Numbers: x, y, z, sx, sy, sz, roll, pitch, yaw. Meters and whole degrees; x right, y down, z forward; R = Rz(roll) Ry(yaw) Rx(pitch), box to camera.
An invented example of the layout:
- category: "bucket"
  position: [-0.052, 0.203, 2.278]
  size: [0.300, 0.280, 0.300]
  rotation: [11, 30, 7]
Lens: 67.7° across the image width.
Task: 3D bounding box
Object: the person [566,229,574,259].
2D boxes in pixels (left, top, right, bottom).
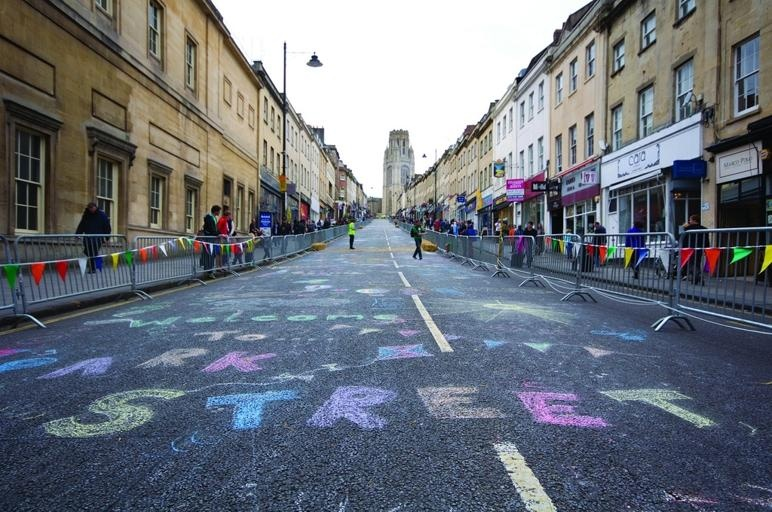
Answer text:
- category: "person"
  position: [4.434, -0.203, 13.668]
  size: [0.174, 0.545, 0.903]
  rotation: [4, 12, 18]

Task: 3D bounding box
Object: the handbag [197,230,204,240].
- category: "handbag"
  position: [-5.616, -0.626, 17.412]
  size: [0.260, 0.304, 0.489]
  rotation: [0, 5, -21]

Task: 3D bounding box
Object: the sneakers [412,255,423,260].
- category: "sneakers"
  position: [1.547, 0.111, 26.496]
  size: [0.555, 0.268, 0.178]
  rotation: [-3, 3, -20]

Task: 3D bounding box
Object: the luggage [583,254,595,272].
- category: "luggage"
  position: [4.504, 0.175, 12.633]
  size: [0.074, 0.340, 0.301]
  rotation: [6, -9, -12]
